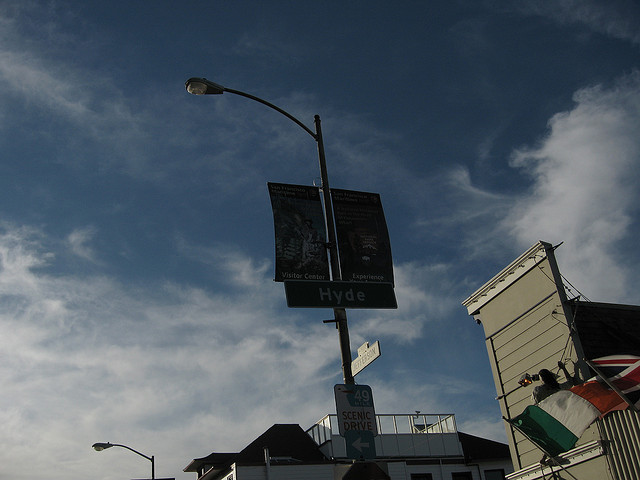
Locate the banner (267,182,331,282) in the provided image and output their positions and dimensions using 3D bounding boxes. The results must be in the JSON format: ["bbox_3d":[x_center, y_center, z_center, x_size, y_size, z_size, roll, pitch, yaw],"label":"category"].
[{"bbox_3d":[-0.447,-0.265,16.003,1.510,2.474,0.874,6,-36,-11],"label":"banner"}]
